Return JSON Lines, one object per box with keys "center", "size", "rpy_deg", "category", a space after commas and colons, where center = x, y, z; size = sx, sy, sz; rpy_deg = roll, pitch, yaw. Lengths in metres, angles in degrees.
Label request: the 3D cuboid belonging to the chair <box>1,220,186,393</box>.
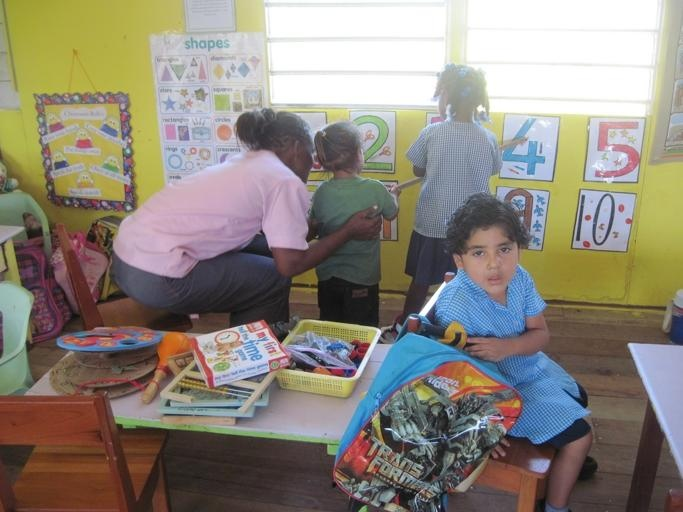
{"center": [-1.000, 0.124, 2.330], "size": [0.543, 0.853, 0.458], "rpy_deg": [-4, 31, 9], "category": "chair"}
